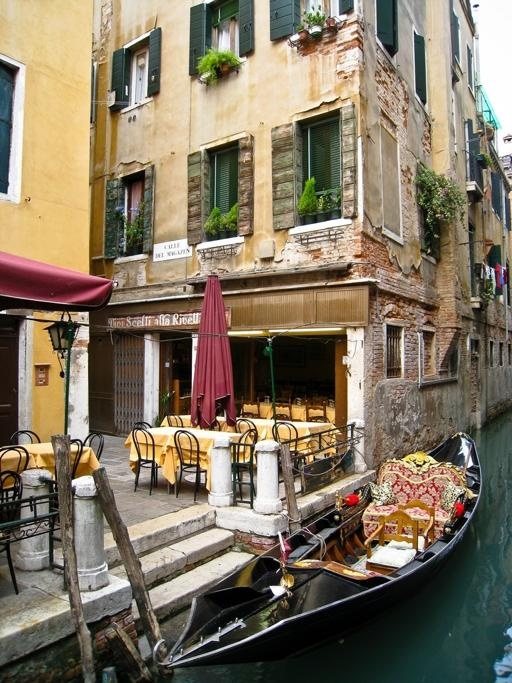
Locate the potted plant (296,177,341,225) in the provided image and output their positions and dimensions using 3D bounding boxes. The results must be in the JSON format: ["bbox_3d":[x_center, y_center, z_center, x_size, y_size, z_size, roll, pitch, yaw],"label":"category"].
[{"bbox_3d":[1.067,-2.447,9.938,0.762,0.872,0.470,-5,-6,8],"label":"potted plant"}]

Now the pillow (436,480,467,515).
[{"bbox_3d":[2.490,1.996,7.316,0.230,0.532,0.396,42,-45,-18],"label":"pillow"}]

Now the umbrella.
[{"bbox_3d":[-0.652,0.097,8.020,0.569,2.215,0.665,-1,-6,-18],"label":"umbrella"}]

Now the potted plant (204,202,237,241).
[{"bbox_3d":[-0.694,-2.301,11.189,0.536,0.535,0.618,-2,3,-29],"label":"potted plant"}]

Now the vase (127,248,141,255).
[{"bbox_3d":[-2.789,-2.058,13.067,0.186,0.177,0.199,1,-5,-27],"label":"vase"}]

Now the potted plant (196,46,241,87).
[{"bbox_3d":[-0.751,-5.282,11.025,0.609,0.568,0.714,-1,4,-7],"label":"potted plant"}]

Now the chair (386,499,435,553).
[{"bbox_3d":[1.695,2.022,6.479,0.432,0.831,0.426,-4,-12,31],"label":"chair"}]

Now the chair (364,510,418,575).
[{"bbox_3d":[1.404,2.086,6.010,0.420,0.834,0.641,-3,-9,26],"label":"chair"}]

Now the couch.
[{"bbox_3d":[2.043,1.711,7.361,1.109,1.134,0.893,-3,-12,23],"label":"couch"}]

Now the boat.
[{"bbox_3d":[1.259,2.123,6.231,1.247,1.554,6.064,-4,-2,25],"label":"boat"}]
